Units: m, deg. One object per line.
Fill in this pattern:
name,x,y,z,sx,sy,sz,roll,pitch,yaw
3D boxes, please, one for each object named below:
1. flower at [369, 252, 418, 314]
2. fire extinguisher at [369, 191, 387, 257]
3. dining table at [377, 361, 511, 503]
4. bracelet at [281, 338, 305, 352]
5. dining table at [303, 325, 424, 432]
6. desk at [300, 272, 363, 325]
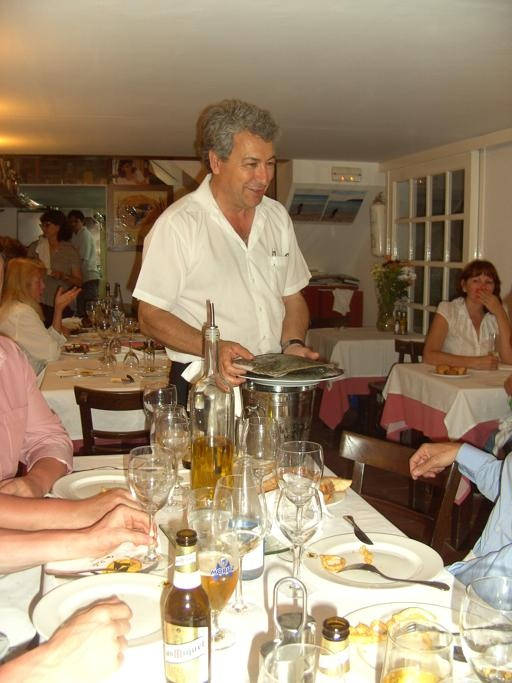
flower,1.370,-0.539,5.474,0.462,0.487,0.451,13,1,-38
fire extinguisher,1.441,-1.382,6.522,0.187,0.775,0.217,0,3,9
dining table,1.018,0.505,3.148,0.758,0.371,0.683,-5,23,-14
bracelet,0.117,0.009,1.820,0.052,0.019,0.051,-12,15,18
dining table,0.857,0.337,4.926,1.071,0.481,0.982,-2,12,-10
desk,0.922,-0.496,6.794,0.775,0.433,0.734,-2,13,-8
